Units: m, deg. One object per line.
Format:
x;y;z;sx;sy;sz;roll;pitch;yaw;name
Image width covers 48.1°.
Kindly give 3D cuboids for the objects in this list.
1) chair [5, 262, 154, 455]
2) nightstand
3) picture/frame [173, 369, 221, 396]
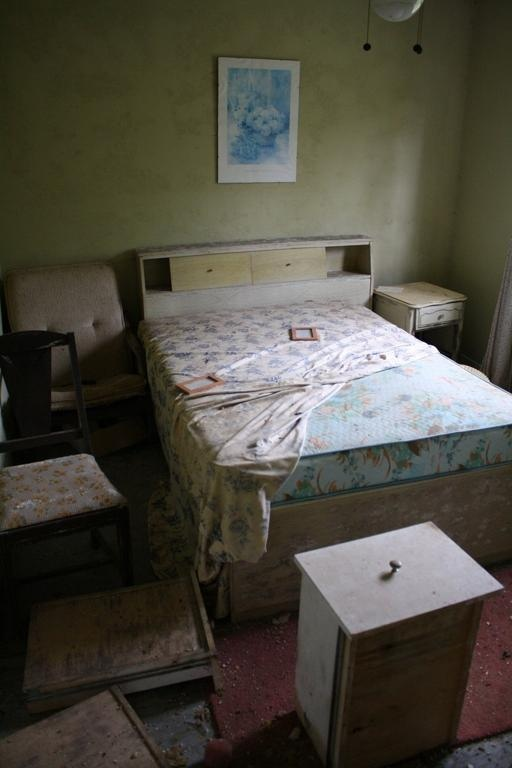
-0.989;-0.219;3.378;0.756;1.134;1.122;-12;42;-23;chair
1.046;-0.487;3.931;0.515;0.668;0.529;-12;26;-25;nightstand
-0.238;0.002;2.493;0.139;0.033;0.098;-17;32;-27;picture/frame
